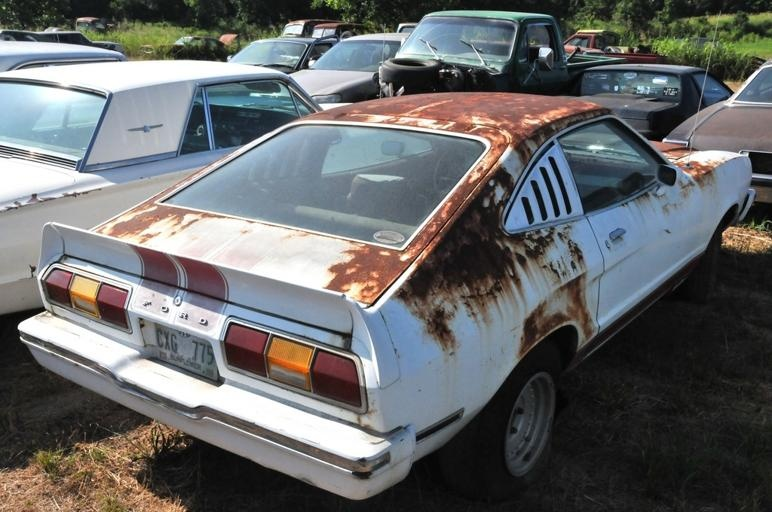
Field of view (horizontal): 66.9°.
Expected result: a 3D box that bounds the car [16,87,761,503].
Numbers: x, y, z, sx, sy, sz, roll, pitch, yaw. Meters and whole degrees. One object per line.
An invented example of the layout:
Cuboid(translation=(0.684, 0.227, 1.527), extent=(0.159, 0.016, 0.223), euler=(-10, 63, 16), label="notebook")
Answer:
Cuboid(translation=(0.586, 0.162, 4.172), extent=(2.123, 1.495, 4.351), euler=(18, 33, 37), label="car")
